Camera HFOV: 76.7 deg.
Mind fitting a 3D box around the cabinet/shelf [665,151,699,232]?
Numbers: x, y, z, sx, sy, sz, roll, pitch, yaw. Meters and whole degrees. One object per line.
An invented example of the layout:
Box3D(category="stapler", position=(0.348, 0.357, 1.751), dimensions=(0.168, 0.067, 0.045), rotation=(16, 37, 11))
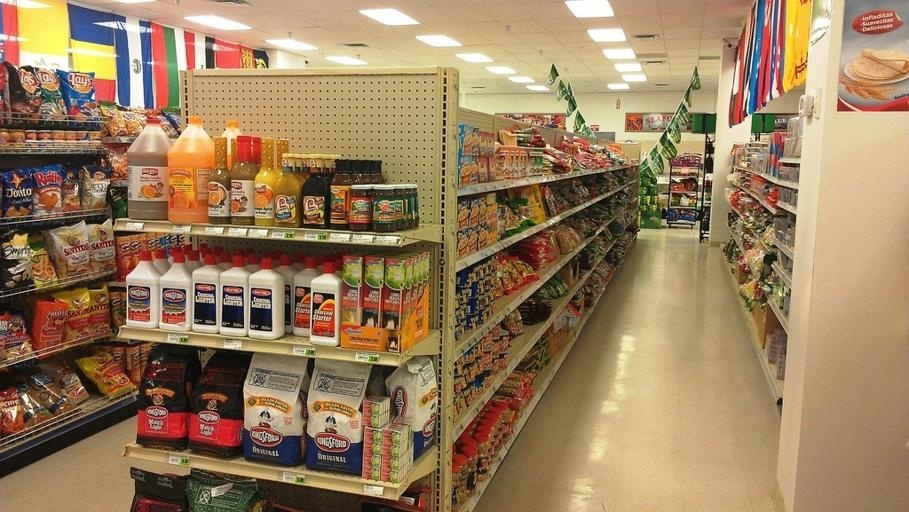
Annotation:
Box3D(category="cabinet/shelf", position=(6.502, -1.830, 16.290), dimensions=(0.884, 2.034, 0.884), rotation=(4, 14, 19))

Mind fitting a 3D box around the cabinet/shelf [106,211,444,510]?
Box3D(category="cabinet/shelf", position=(-0.975, 0.616, 3.368), dimensions=(2.328, 1.709, 0.764), rotation=(1, 1, 13))
